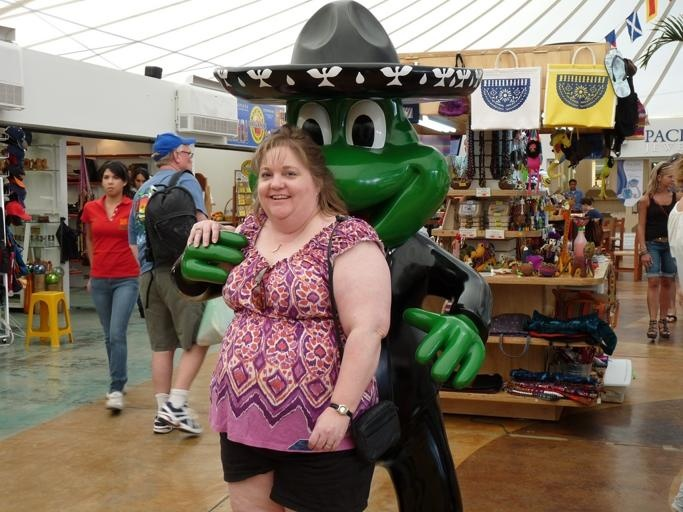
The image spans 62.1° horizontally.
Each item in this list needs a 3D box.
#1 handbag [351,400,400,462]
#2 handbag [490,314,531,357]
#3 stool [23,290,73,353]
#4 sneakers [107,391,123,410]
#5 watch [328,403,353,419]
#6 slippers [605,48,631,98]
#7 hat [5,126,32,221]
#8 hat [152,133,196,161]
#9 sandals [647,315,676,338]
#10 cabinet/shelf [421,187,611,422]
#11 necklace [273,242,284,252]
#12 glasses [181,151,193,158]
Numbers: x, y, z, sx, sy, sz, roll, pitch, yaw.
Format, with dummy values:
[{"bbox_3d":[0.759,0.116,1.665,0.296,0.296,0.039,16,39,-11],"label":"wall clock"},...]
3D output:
[{"bbox_3d":[0.102,0.503,1.647,0.185,0.147,0.068,-4,6,-39],"label":"handbag"},{"bbox_3d":[1.308,0.583,4.448,0.295,0.215,0.322,2,5,17],"label":"handbag"},{"bbox_3d":[-3.534,0.765,6.873,0.544,0.609,0.539,-1,-2,-38],"label":"stool"},{"bbox_3d":[-1.782,1.142,4.463,0.127,0.162,0.115,-1,5,-17],"label":"sneakers"},{"bbox_3d":[-0.004,0.421,1.541,0.067,0.048,0.025,0,5,-2],"label":"watch"},{"bbox_3d":[2.115,-1.415,4.389,0.158,0.397,0.093,-6,19,20],"label":"slippers"},{"bbox_3d":[-4.168,-1.022,7.294,0.257,1.209,0.535,-3,6,-29],"label":"hat"},{"bbox_3d":[-1.202,-0.794,4.103,0.274,0.157,0.174,-22,23,-22],"label":"hat"},{"bbox_3d":[4.030,0.944,7.303,0.212,0.178,0.610,-3,-9,20],"label":"sandals"},{"bbox_3d":[1.449,0.675,5.342,1.525,2.260,2.359,1,-3,14],"label":"cabinet/shelf"},{"bbox_3d":[-0.185,-0.018,1.683,0.009,0.010,0.063,-8,-30,-26],"label":"necklace"},{"bbox_3d":[-1.131,-0.746,4.153,0.066,0.073,0.022,2,4,4],"label":"glasses"}]
